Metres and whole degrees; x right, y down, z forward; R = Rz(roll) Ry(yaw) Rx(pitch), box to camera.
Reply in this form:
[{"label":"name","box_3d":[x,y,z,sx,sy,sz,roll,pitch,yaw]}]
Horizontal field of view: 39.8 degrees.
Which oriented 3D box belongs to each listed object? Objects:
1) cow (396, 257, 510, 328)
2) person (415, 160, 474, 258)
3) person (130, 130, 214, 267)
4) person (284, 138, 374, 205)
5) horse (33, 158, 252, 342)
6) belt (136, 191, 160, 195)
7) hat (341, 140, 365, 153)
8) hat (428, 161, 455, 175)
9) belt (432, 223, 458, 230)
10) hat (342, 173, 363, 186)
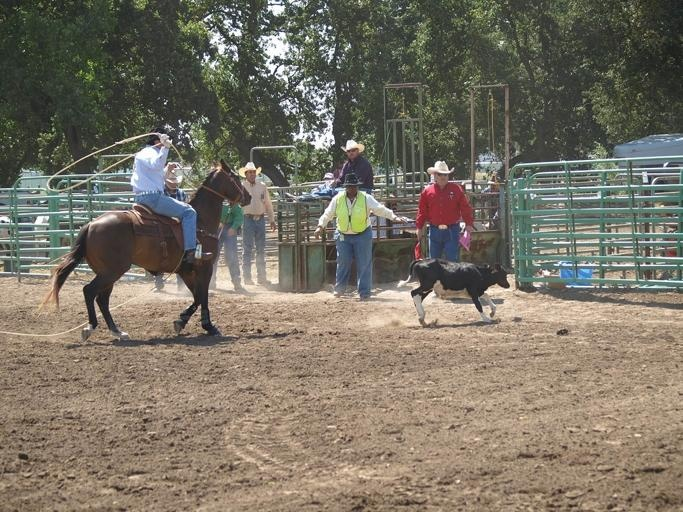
[{"label":"cow","box_3d":[1.802,0.542,14.914,1.690,1.009,1.254,-1,0,5]},{"label":"person","box_3d":[1.741,-0.744,16.108,0.811,1.655,0.678,-1,0,-19]},{"label":"person","box_3d":[-2.606,-0.898,14.318,1.044,1.839,1.108,1,-5,-18]},{"label":"person","box_3d":[-0.307,-1.587,17.616,1.899,1.081,0.843,-3,2,-16]},{"label":"horse","box_3d":[-2.852,-0.029,14.405,3.651,2.510,0.950,-5,1,-40]},{"label":"belt","box_3d":[-2.886,-0.937,14.107,0.383,0.061,0.138,-1,0,8]},{"label":"hat","box_3d":[0.225,-2.040,17.565,0.265,0.232,0.721,-1,0,5]},{"label":"hat","box_3d":[1.711,-1.582,16.061,0.437,0.197,0.484,1,-6,-3]},{"label":"belt","box_3d":[1.763,-0.490,16.058,0.476,0.113,0.173,-1,0,-10]},{"label":"hat","box_3d":[0.183,-1.336,16.521,0.230,0.231,0.345,-1,0,-6]}]
